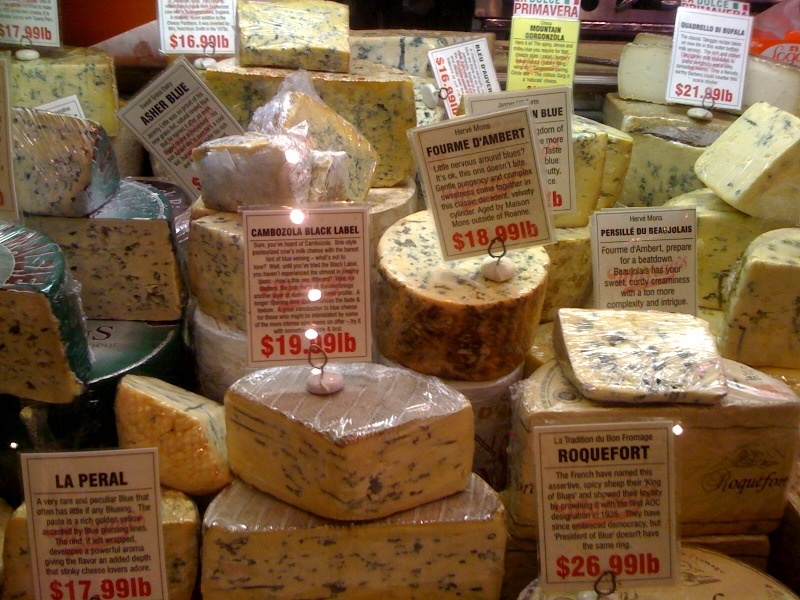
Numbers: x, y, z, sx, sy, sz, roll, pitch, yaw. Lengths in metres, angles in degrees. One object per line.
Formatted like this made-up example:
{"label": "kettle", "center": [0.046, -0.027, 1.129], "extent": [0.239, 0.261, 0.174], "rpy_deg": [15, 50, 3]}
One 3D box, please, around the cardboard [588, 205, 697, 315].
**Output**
{"label": "cardboard", "center": [0.766, -0.122, 2.121], "extent": [0.419, 0.431, 0.054], "rpy_deg": [-2, 9, 2]}

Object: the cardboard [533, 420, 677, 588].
{"label": "cardboard", "center": [0.477, 0.466, 1.565], "extent": [0.491, 0.445, 0.059], "rpy_deg": [-2, 7, -3]}
